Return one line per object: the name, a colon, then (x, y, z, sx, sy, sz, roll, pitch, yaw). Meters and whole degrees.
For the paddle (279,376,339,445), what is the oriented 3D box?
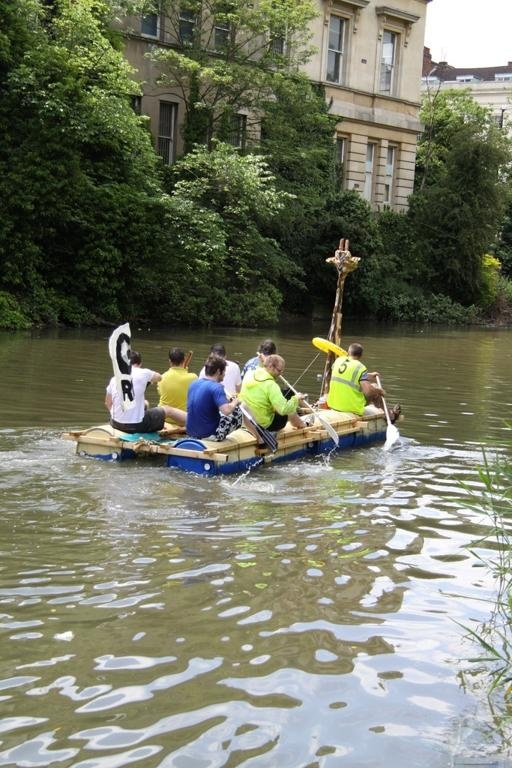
paddle: (0.713, 0.356, 10.991, 0.088, 0.167, 1.517, 23, 25, -36)

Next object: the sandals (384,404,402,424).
sandals: (2.027, 0.474, 12.198, 0.179, 0.231, 0.575, -17, -30, 2)

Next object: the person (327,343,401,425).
person: (1.509, 0.022, 11.815, 0.763, 1.187, 1.220, 9, 13, 36)

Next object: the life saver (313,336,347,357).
life saver: (1.026, -0.566, 12.262, 0.578, 0.147, 0.561, 27, -6, -19)

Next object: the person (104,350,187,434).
person: (-1.304, 0.066, 9.696, 0.744, 0.954, 1.026, 2, 5, 36)

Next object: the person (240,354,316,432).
person: (0.244, 0.101, 9.842, 0.930, 0.885, 0.837, -2, 17, -20)

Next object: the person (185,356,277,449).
person: (-0.410, 0.152, 9.151, 0.605, 0.899, 0.688, 12, 14, 37)
